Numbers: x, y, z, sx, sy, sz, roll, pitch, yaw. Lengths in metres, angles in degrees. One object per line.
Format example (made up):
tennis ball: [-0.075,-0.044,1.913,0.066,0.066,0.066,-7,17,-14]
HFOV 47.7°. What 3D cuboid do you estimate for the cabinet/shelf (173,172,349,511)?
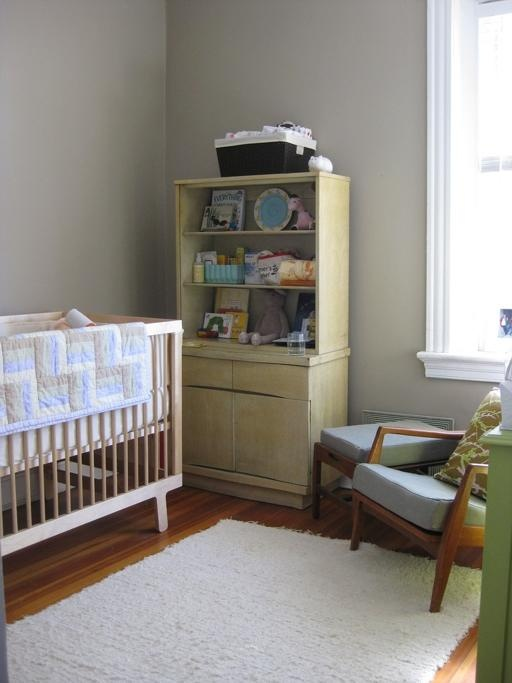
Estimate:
cabinet/shelf: [-0.009,-0.044,2.943,0.901,1.597,0.468,1,3,32]

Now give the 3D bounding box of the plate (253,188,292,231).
plate: [0.094,-0.657,3.011,0.230,0.237,0.032,24,16,33]

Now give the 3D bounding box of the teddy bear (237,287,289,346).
teddy bear: [0.053,-0.151,3.038,0.210,0.341,0.293,6,5,41]

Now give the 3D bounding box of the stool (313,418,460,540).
stool: [0.467,0.563,2.423,0.343,0.345,0.476,0,-1,-17]

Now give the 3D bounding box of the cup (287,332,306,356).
cup: [0.184,0.010,2.696,0.091,0.131,0.091,0,3,0]

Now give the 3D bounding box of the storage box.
storage box: [0.035,-0.901,2.816,0.493,0.207,0.283,0,2,5]

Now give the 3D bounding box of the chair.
chair: [0.665,0.548,1.963,0.525,0.470,0.492,4,2,-23]
